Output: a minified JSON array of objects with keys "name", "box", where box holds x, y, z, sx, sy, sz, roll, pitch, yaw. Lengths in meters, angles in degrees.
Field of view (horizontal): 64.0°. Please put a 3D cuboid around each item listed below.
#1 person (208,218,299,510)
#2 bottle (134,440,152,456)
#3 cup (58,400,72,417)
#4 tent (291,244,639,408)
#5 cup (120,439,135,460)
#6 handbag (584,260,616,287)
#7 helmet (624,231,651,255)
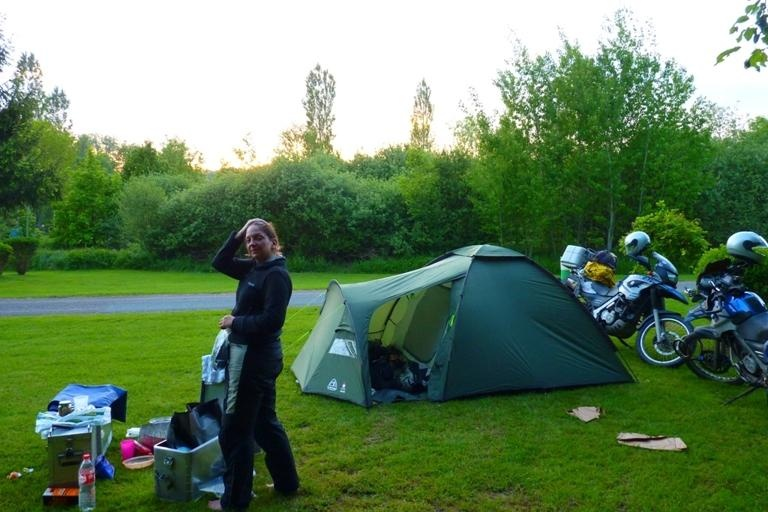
[{"name":"person","box":[-1.919,1.610,9.214,1.217,4.319,0.708,0,1,-6]},{"name":"bottle","box":[-3.974,3.180,10.129,0.386,0.157,0.090,25,29,36]},{"name":"cup","box":[-5.046,2.415,9.703,0.180,0.210,0.215,0,-9,4]},{"name":"tent","box":[1.383,1.297,12.528,5.975,3.030,1.828,0,1,-7]},{"name":"cup","box":[-4.196,3.167,10.036,0.256,0.288,0.252,5,0,0]},{"name":"handbag","box":[4.920,0.400,13.940,0.626,0.374,0.492,21,5,5]},{"name":"helmet","box":[5.664,-0.307,13.774,0.585,0.570,0.486,-8,2,16]}]
